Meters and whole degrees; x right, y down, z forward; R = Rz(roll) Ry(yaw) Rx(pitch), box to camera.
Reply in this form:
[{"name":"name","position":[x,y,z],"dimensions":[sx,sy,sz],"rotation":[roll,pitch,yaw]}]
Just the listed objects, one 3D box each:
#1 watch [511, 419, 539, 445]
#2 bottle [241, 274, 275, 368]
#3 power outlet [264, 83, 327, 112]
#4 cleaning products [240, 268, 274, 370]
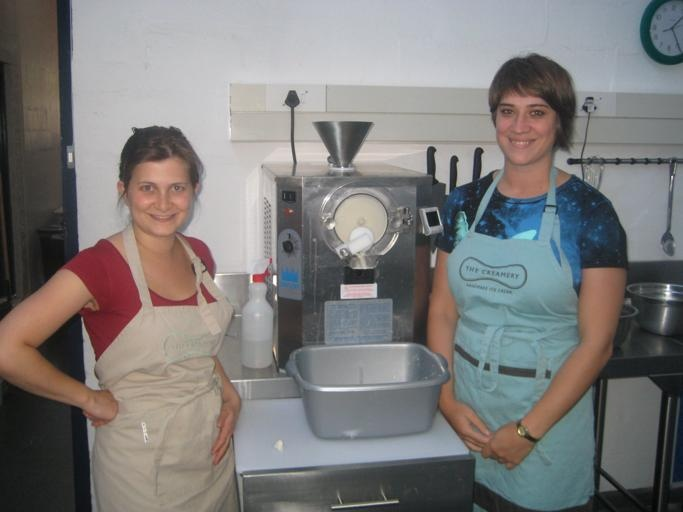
[{"name":"watch","position":[0.524,0.503,1.717],"dimensions":[0.061,0.035,0.060],"rotation":[39,-1,-40]},{"name":"bottle","position":[-0.277,0.202,1.965],"dimensions":[0.104,0.293,0.111],"rotation":[2,12,0]},{"name":"power outlet","position":[-0.172,-0.607,2.303],"dimensions":[0.191,0.115,0.122],"rotation":[-4,14,-22]},{"name":"cleaning products","position":[-0.280,0.201,1.972],"dimensions":[0.108,0.313,0.116],"rotation":[-1,12,-12]}]
